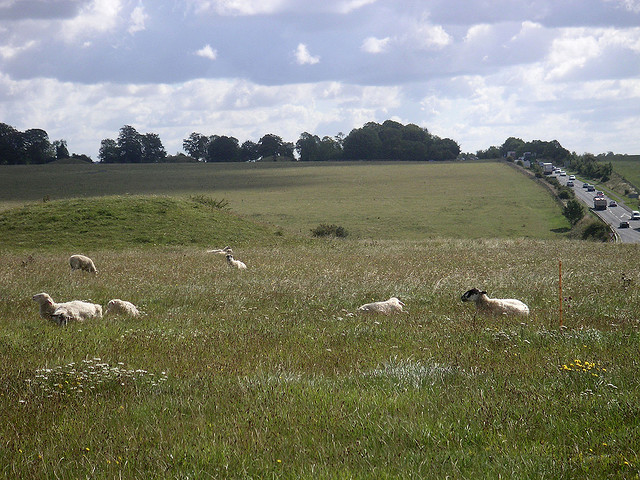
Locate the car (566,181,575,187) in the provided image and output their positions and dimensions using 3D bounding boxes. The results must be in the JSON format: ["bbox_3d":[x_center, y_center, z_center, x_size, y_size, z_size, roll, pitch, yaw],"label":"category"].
[{"bbox_3d":[44.159,-10.059,122.946,1.614,0.830,2.802,3,9,13],"label":"car"}]

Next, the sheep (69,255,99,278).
[{"bbox_3d":[-9.693,1.018,28.517,1.344,0.629,0.718,1,12,3],"label":"sheep"}]

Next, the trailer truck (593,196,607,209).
[{"bbox_3d":[37.412,-5.037,93.220,1.696,1.743,2.677,1,4,6],"label":"trailer truck"}]

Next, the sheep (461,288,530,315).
[{"bbox_3d":[5.157,1.883,20.535,1.838,0.812,0.641,3,12,15],"label":"sheep"}]

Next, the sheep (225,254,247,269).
[{"bbox_3d":[-3.792,0.985,32.095,0.733,0.547,1.610,-6,13,-25],"label":"sheep"}]

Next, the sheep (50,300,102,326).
[{"bbox_3d":[-6.799,2.078,19.711,1.411,0.793,0.518,8,-18,-33],"label":"sheep"}]

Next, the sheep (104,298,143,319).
[{"bbox_3d":[-5.832,2.123,20.745,1.058,0.499,0.810,-4,13,-18],"label":"sheep"}]
